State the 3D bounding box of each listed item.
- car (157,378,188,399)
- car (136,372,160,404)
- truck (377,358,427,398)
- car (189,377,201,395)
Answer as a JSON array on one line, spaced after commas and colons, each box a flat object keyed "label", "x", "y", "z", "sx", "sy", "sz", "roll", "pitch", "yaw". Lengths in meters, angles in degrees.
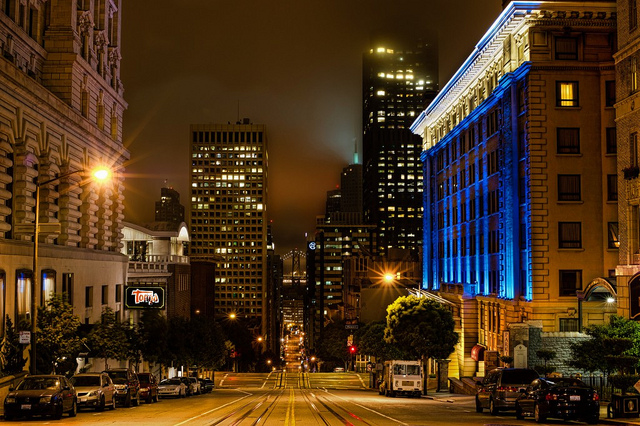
[{"label": "car", "x": -13.233, "y": 15.789, "z": 81.143, "sx": 1.739, "sy": 1.865, "sz": 2.813, "roll": -8, "pitch": -16, "yaw": 27}, {"label": "car", "x": -13.707, "y": 14.067, "z": 72.112, "sx": 1.483, "sy": 2.504, "sz": 3.415, "roll": 1, "pitch": -14, "yaw": -7}, {"label": "truck", "x": 7.381, "y": 15.123, "z": 81.638, "sx": 2.761, "sy": 2.516, "sz": 4.708, "roll": 2, "pitch": -11, "yaw": -8}, {"label": "car", "x": -12.039, "y": 16.774, "z": 87.206, "sx": 0.855, "sy": 1.768, "sz": 3.129, "roll": 0, "pitch": -14, "yaw": -2}]
